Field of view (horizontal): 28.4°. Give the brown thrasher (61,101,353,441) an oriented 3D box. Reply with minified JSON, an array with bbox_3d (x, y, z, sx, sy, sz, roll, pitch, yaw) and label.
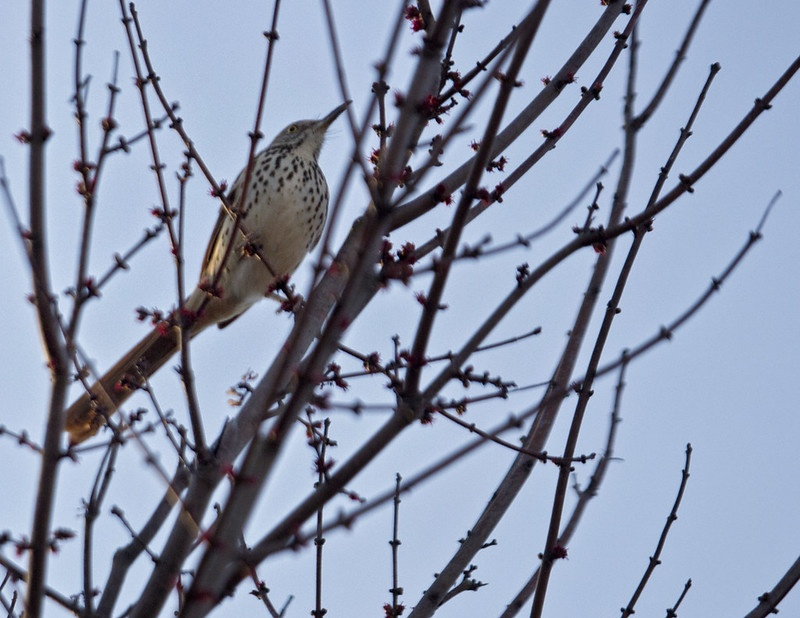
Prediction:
[{"bbox_3d":[-0.707,-0.054,6.312,1.520,0.630,0.394,-49,-50,1],"label":"brown thrasher"}]
